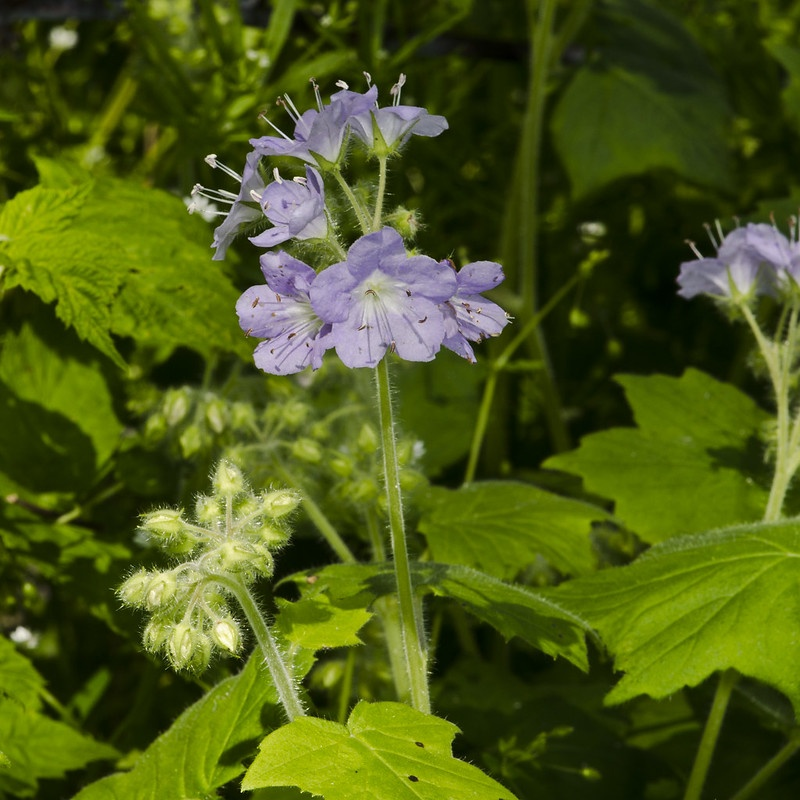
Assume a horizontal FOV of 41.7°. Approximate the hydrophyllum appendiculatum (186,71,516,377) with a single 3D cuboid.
[{"bbox_3d":[-0.083,-0.256,1.648,0.420,0.436,0.419,-20,28,-3],"label":"hydrophyllum appendiculatum"}]
